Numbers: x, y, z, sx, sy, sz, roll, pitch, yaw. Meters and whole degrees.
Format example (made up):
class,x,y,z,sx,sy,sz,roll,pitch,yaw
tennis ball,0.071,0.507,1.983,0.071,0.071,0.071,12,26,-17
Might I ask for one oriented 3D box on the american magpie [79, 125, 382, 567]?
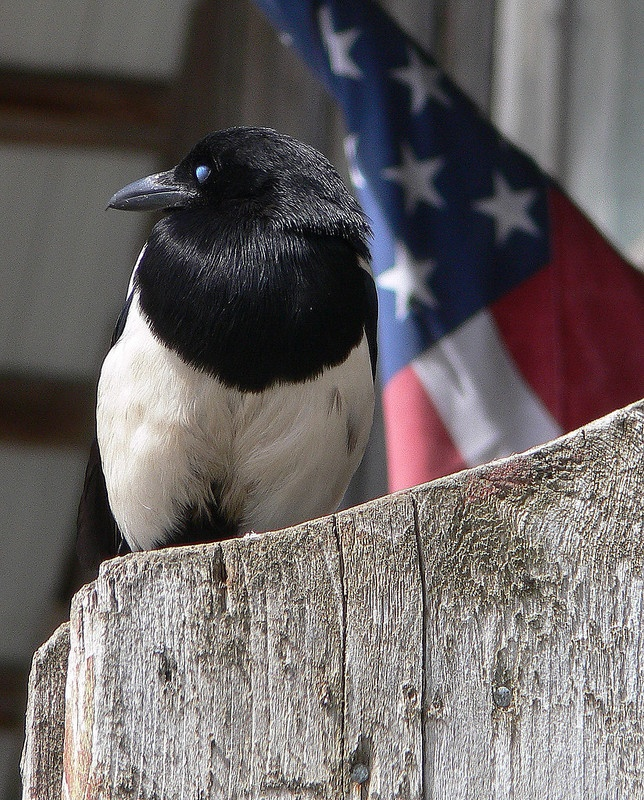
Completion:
class,x,y,z,sx,sy,sz,roll,pitch,yaw
american magpie,-0.215,-0.070,4.058,0.433,1.027,0.831,9,-17,-16
